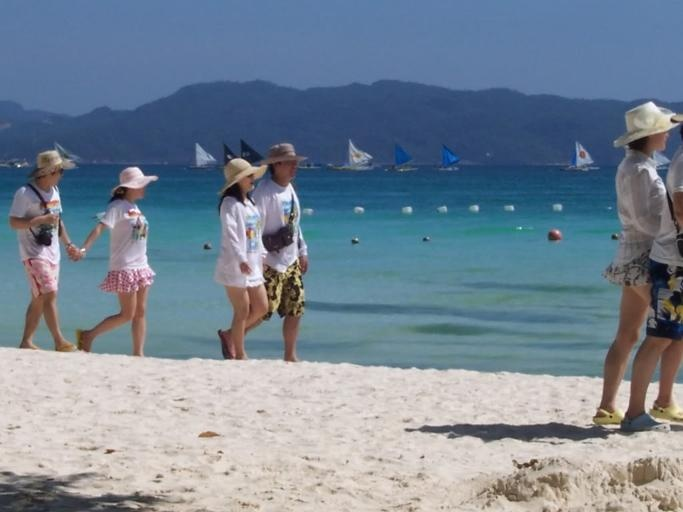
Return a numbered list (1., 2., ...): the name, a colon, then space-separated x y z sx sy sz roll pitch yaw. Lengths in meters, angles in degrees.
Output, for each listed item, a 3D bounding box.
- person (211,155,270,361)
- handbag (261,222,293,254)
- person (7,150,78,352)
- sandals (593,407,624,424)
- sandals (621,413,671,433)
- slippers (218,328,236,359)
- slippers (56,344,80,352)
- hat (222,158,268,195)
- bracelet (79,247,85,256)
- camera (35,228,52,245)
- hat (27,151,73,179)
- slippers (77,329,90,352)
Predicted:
1. person: -1.093 0.053 11.959 0.458 2.261 0.609 1 5 17
2. handbag: -0.694 -0.191 12.132 0.293 0.294 0.123 -25 22 -34
3. person: -3.389 -0.044 12.293 0.698 2.312 0.580 -1 5 -17
4. sandals: 2.473 1.494 10.016 0.306 0.122 0.109 -3 6 -33
5. sandals: 2.757 1.517 9.771 0.340 0.148 0.194 -2 0 8
6. slippers: -1.341 1.025 12.494 0.160 0.411 0.134 -13 4 10
7. slippers: -3.147 1.042 12.355 0.188 0.051 0.102 0 2 12
8. hat: -1.116 -0.894 11.980 0.411 0.380 0.766 0 5 0
9. bracelet: -2.880 -0.053 12.063 0.072 0.071 0.072 2 -3 -39
10. camera: -3.338 -0.213 12.097 0.147 0.179 0.189 -3 6 -39
11. hat: -3.302 -1.006 12.218 0.367 0.197 0.368 -16 14 -1
12. slippers: -3.015 0.986 12.562 0.107 0.306 0.111 -2 4 -12
